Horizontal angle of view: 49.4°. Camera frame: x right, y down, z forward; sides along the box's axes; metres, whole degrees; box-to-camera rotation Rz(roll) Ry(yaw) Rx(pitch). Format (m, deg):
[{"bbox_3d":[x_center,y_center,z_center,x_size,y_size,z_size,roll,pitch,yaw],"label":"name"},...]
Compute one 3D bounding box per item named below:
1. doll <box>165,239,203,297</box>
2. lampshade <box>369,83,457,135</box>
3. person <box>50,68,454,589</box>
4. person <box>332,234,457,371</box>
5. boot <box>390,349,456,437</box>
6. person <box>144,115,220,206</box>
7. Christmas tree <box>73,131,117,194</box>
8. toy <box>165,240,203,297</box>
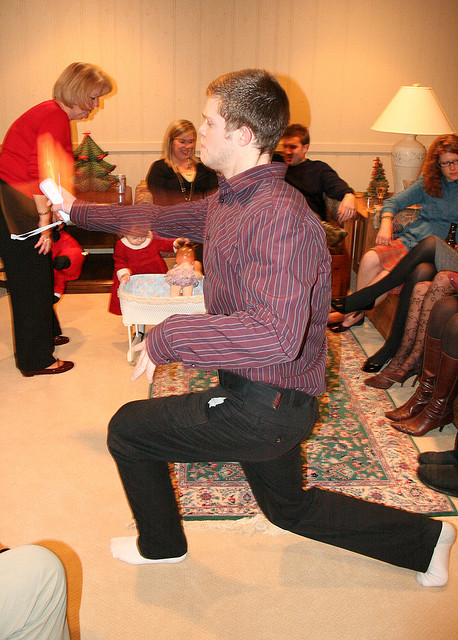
[{"bbox_3d":[-0.310,-0.362,3.428,0.174,0.139,0.474,2,52,-1],"label":"doll"},{"bbox_3d":[1.391,-1.614,3.979,0.616,0.366,0.619,23,37,36],"label":"lampshade"},{"bbox_3d":[0.102,0.153,1.229,0.813,1.424,0.533,8,21,22],"label":"person"},{"bbox_3d":[1.039,-0.267,3.222,0.324,0.555,1.523,28,42,27],"label":"person"},{"bbox_3d":[0.995,0.365,2.525,0.293,0.489,0.136,5,21,17],"label":"boot"},{"bbox_3d":[-0.365,-1.244,4.190,0.490,0.791,0.624,18,27,36],"label":"person"},{"bbox_3d":[-1.265,-1.453,4.663,0.356,0.500,0.257,-5,20,-11],"label":"Christmas tree"},{"bbox_3d":[-0.307,-0.282,3.368,0.246,0.184,0.630,10,38,-9],"label":"toy"}]
